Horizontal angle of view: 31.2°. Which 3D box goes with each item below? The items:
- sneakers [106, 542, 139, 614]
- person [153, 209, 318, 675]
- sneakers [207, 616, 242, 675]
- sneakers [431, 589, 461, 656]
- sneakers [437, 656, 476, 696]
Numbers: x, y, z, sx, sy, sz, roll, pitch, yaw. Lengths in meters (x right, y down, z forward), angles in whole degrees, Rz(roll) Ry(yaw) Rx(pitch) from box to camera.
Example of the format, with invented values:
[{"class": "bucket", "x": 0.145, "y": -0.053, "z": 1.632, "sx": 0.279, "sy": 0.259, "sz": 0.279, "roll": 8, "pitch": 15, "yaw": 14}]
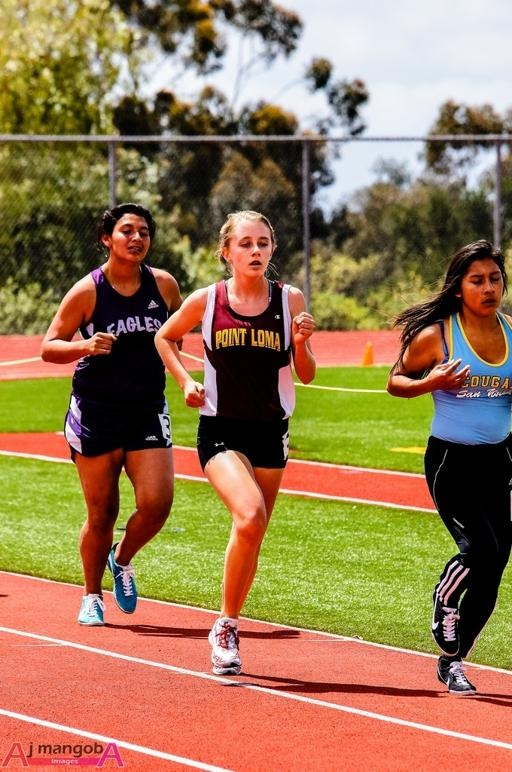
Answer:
[{"class": "sneakers", "x": -0.627, "y": 0.946, "z": 4.483, "sx": 0.133, "sy": 0.345, "sz": 0.140, "roll": -14, "pitch": -2, "yaw": -31}, {"class": "person", "x": -0.043, "y": 0.188, "z": 3.500, "sx": 0.492, "sy": 1.710, "sz": 0.622, "roll": -2, "pitch": 7, "yaw": -20}, {"class": "sneakers", "x": -0.111, "y": 0.967, "z": 3.399, "sx": 0.112, "sy": 0.229, "sz": 0.181, "roll": 0, "pitch": 6, "yaw": -1}, {"class": "sneakers", "x": 0.666, "y": 0.851, "z": 3.309, "sx": 0.079, "sy": 0.224, "sz": 0.094, "roll": -6, "pitch": -14, "yaw": -21}, {"class": "sneakers", "x": 0.707, "y": 1.038, "z": 3.283, "sx": 0.067, "sy": 0.073, "sz": 0.190, "roll": -3, "pitch": -1, "yaw": -13}]
